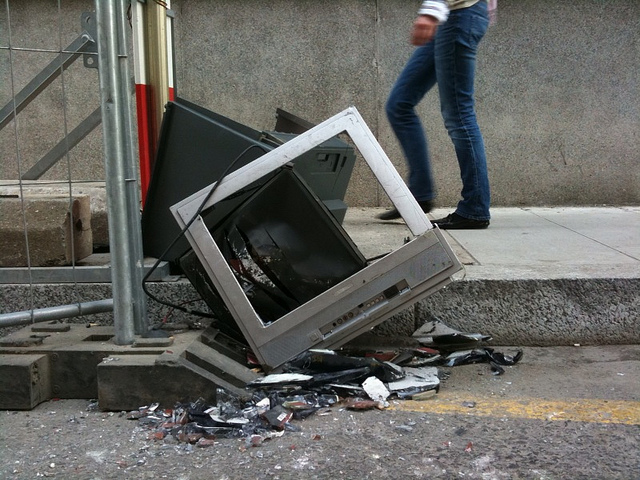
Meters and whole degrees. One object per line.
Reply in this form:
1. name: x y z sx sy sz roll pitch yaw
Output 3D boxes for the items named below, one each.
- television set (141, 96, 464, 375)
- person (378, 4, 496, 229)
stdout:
1. television set: -0.189 -0.178 4.313 1.744 1.392 2.001 -1 13 -2
2. person: 0.924 -0.876 5.100 0.865 1.611 0.865 0 19 -12
